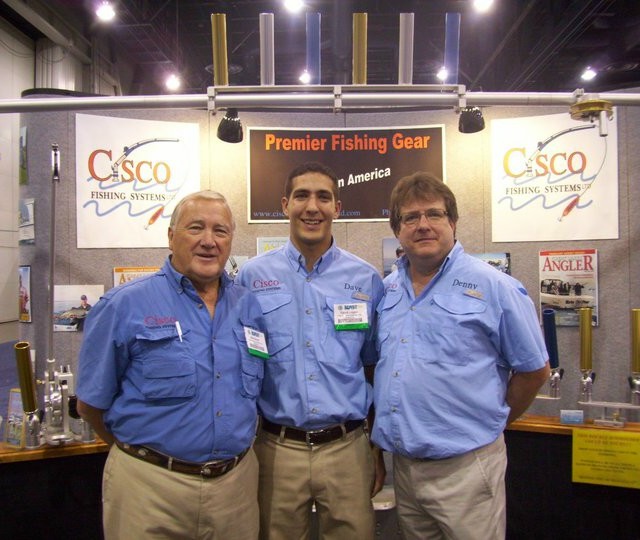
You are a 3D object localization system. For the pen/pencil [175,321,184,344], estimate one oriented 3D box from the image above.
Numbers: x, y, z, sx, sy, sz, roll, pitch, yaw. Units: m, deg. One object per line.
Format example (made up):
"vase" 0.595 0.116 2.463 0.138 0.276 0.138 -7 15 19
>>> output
"pen/pencil" -0.671 0.288 2.822 0.024 0.119 0.023 -16 -18 -14

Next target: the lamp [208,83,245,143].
"lamp" -0.562 -0.884 3.605 0.221 0.353 0.158 0 27 -5
